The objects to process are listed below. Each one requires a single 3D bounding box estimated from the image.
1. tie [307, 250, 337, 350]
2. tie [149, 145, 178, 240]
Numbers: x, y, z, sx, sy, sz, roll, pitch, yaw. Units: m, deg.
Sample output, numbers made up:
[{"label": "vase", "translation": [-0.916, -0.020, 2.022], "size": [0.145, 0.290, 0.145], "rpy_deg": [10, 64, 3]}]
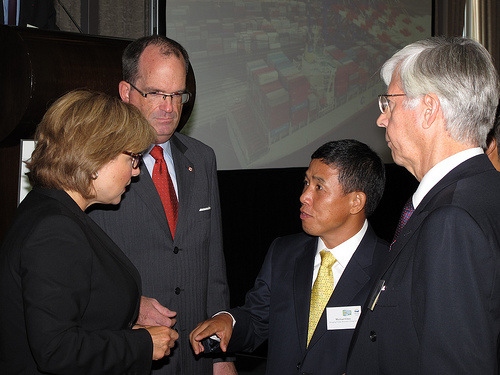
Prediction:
[{"label": "tie", "translation": [0.314, 0.448, 1.849], "size": [0.080, 0.470, 0.065], "rpy_deg": [9, -33, 14]}, {"label": "tie", "translation": [-0.392, 0.024, 1.940], "size": [0.135, 0.404, 0.047], "rpy_deg": [3, -26, -37]}]
